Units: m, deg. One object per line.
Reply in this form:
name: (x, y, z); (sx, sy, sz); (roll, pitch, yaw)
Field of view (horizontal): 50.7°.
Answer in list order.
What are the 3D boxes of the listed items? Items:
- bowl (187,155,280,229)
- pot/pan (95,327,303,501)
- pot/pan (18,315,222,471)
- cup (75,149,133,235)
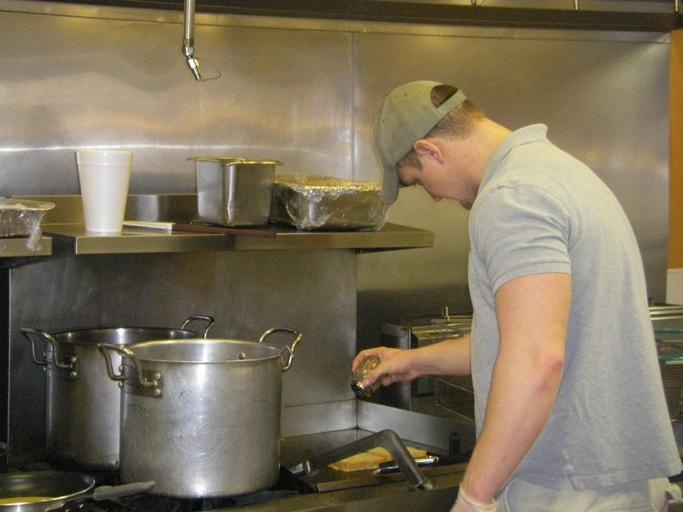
bowl: (-0.324, -0.176, 1.984); (0.245, 0.132, 0.234); (2, 7, 0)
pot/pan: (-0.362, 0.335, 1.874); (0.603, 0.308, 0.433); (3, -2, -44)
pot/pan: (-0.632, 0.369, 2.076); (0.644, 0.328, 0.448); (1, 1, -44)
cup: (-0.584, -0.158, 1.777); (0.126, 0.198, 0.087); (2, -4, -17)
